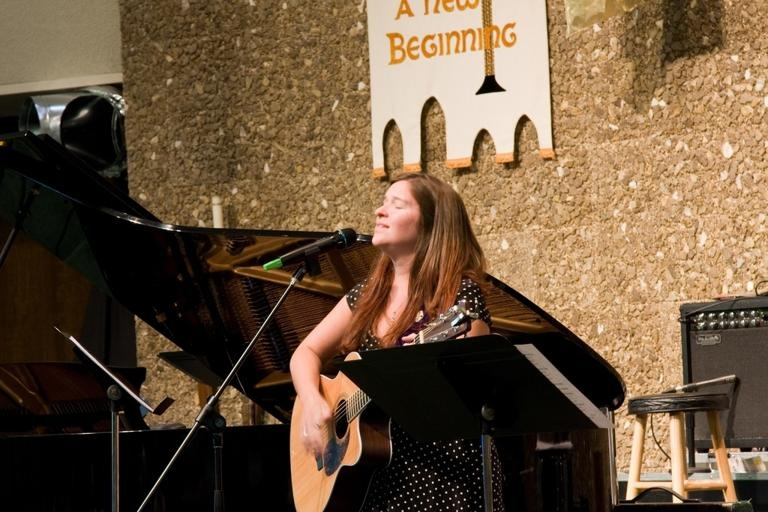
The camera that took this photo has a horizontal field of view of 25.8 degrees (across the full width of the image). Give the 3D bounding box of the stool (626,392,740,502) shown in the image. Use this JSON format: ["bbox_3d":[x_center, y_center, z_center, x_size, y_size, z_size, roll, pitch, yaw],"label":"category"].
[{"bbox_3d":[2.084,1.267,11.407,0.768,0.823,0.671,5,14,39],"label":"stool"}]

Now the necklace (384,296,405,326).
[{"bbox_3d":[0.076,0.318,9.989,0.032,0.154,0.110,16,2,-43],"label":"necklace"}]
